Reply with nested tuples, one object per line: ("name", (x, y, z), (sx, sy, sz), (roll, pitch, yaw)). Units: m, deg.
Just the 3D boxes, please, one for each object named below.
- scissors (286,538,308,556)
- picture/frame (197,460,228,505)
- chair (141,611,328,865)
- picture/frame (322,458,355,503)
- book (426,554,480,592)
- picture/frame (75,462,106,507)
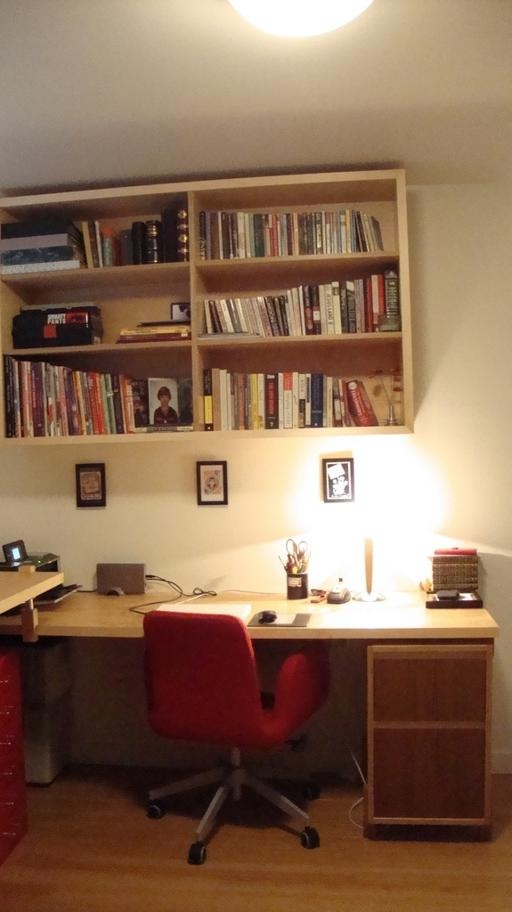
("scissors", (0.157, 0.353, 2.829), (0.050, 0.077, 0.075), (2, 0, 11))
("picture/frame", (-0.169, 0.101, 2.899), (0.157, 0.242, 0.017), (0, 0, 3))
("chair", (-0.057, 0.853, 2.404), (0.611, 0.804, 0.477), (-1, 3, -10))
("picture/frame", (0.323, 0.090, 2.838), (0.146, 0.224, 0.021), (-1, 2, 3))
("book", (0.722, 0.427, 2.692), (0.215, 0.205, 0.123), (0, -1, 6))
("picture/frame", (-0.673, 0.116, 2.985), (0.161, 0.255, 0.027), (0, -2, 3))
